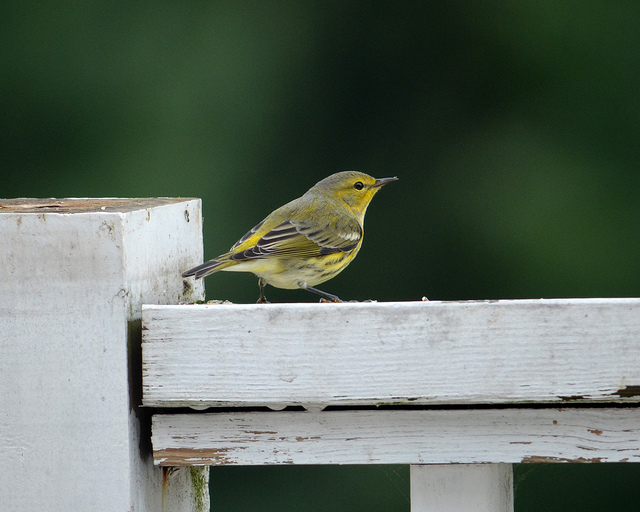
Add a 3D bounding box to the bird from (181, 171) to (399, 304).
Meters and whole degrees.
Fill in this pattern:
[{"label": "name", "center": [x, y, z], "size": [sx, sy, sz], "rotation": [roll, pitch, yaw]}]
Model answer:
[{"label": "bird", "center": [-0.134, -0.068, 6.207], "size": [1.095, 0.399, 0.646], "rotation": [-2, 83, -29]}]
